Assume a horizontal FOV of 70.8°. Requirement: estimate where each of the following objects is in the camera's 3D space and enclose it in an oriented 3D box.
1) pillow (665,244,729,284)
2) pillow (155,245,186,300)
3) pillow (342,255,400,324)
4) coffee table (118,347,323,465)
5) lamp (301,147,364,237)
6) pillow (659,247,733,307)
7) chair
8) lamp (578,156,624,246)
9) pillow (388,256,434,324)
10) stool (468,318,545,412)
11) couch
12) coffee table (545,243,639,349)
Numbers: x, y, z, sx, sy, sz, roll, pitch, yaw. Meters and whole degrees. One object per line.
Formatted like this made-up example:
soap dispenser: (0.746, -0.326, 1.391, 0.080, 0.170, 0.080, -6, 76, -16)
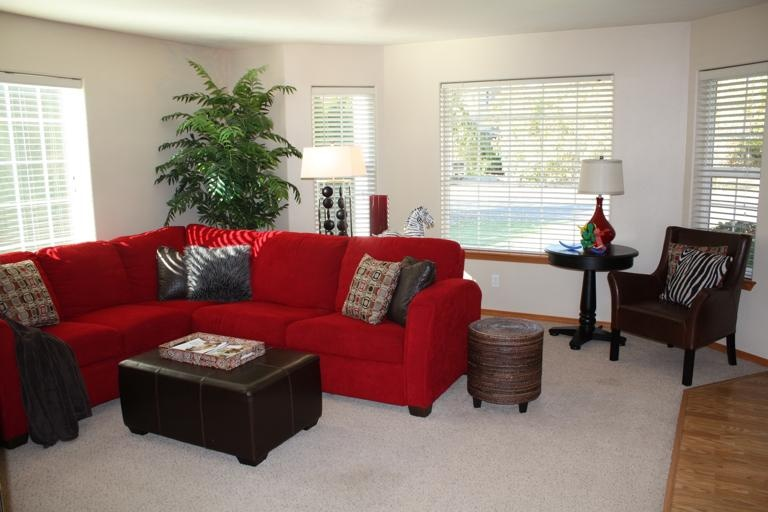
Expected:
pillow: (2.906, 0.045, 5.195, 0.110, 0.344, 0.365, 30, -20, -30)
pillow: (-1.995, 0.163, 5.104, 0.413, 0.403, 0.121, -4, -8, 6)
pillow: (-0.042, 0.291, 4.489, 0.494, 0.488, 0.153, 13, -7, 43)
coffee table: (-1.224, 1.051, 4.174, 1.278, 0.561, 0.860, 3, 9, 29)
lamp: (-0.555, -0.703, 5.989, 0.632, 1.039, 1.341, -3, 13, -6)
pillow: (2.877, 0.173, 4.986, 0.162, 0.514, 0.521, 23, 0, -25)
chair: (2.773, 0.393, 5.051, 1.148, 1.205, 1.206, 0, 11, 12)
lamp: (2.143, -0.537, 5.355, 0.394, 0.863, 0.392, 8, 16, 32)
pillow: (0.282, 0.301, 4.471, 0.468, 0.465, 0.181, 10, -14, 42)
stool: (0.985, 0.876, 4.427, 0.649, 0.661, 0.632, 1, 3, 1)
couch: (-1.092, 0.503, 4.607, 2.559, 0.993, 2.205, 3, 9, 26)
coffee table: (2.084, 0.377, 5.481, 0.780, 0.881, 0.772, 11, -6, -41)
